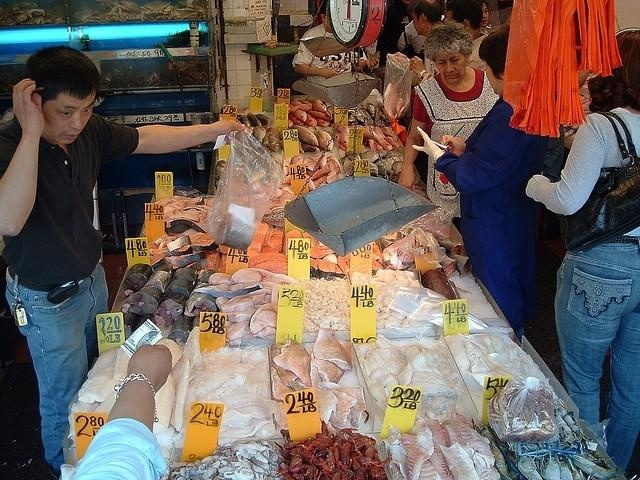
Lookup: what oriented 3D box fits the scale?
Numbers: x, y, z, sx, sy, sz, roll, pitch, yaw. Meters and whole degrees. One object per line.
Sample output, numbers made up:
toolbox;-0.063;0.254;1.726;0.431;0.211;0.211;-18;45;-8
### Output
scale;0.228;-0.310;1.700;0.423;0.689;0.344;-25;38;-34
